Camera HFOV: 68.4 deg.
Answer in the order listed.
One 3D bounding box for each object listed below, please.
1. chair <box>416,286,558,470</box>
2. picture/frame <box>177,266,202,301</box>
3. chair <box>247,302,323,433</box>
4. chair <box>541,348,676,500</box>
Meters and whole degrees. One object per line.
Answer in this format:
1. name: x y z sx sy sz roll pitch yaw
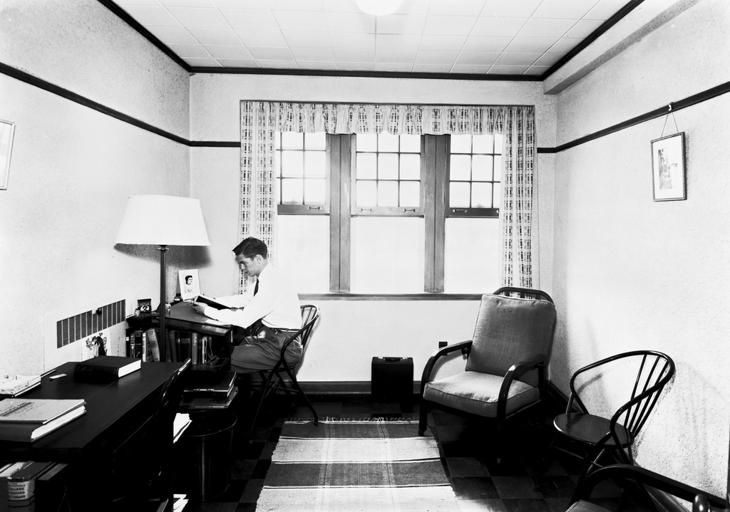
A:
1. chair: 1.165 0.985 4.943 1.111 1.302 0.911 -2 4 -39
2. picture/frame: -1.788 0.288 5.444 0.028 0.381 0.329 -3 -3 26
3. chair: -0.781 0.959 5.313 0.613 0.825 0.582 -2 24 -3
4. chair: 1.836 1.265 4.135 0.883 1.131 0.859 6 7 40
